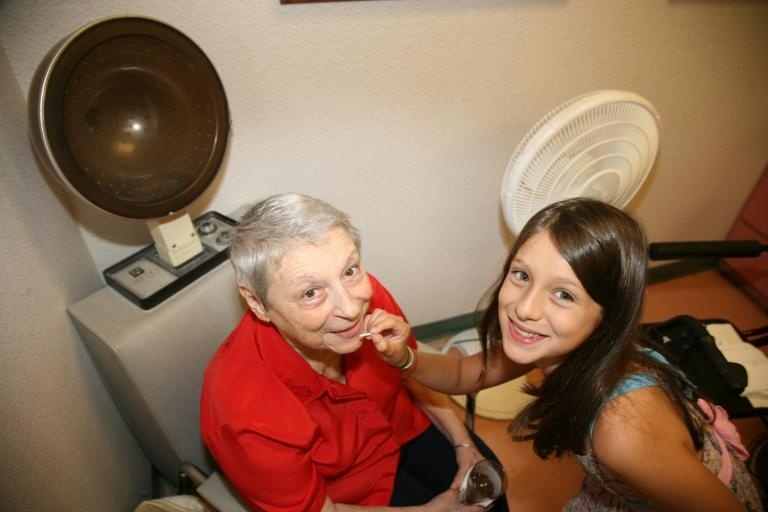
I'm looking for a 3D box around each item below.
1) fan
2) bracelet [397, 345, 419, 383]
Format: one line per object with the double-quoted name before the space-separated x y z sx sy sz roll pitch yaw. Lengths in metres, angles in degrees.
"fan" 1.012 -0.052 2.317 0.741 1.445 0.598 -38 47 3
"bracelet" 0.104 0.377 1.801 0.082 0.106 0.101 -6 -11 5
